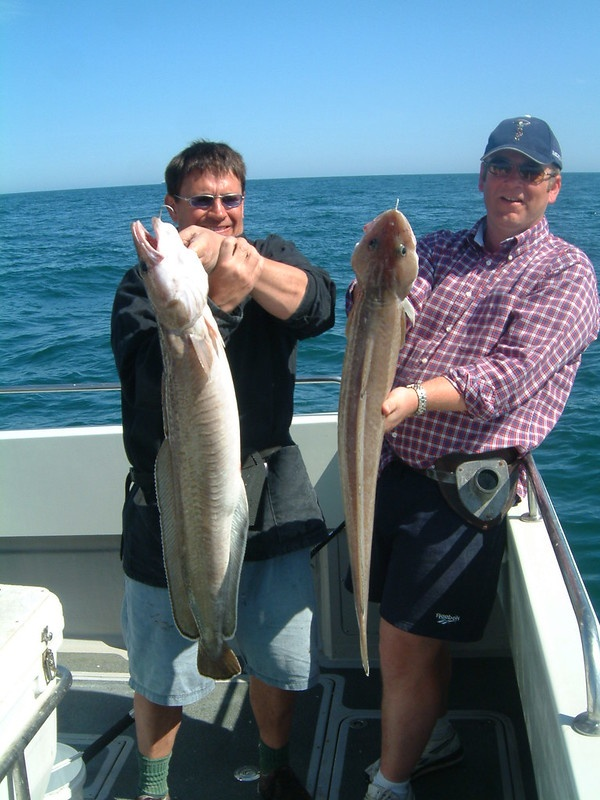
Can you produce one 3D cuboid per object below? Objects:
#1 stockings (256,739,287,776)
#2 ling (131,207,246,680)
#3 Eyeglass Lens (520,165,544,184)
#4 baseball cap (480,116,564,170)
[{"bbox_3d":[-0.085,1.209,2.561,0.129,0.119,0.121,1,-1,-4],"label":"stockings"},{"bbox_3d":[-0.221,0.176,1.915,0.333,1.122,0.244,-4,16,-2],"label":"ling"},{"bbox_3d":[0.752,-0.727,2.400,0.055,0.067,0.025,1,29,12],"label":"Eyeglass Lens"},{"bbox_3d":[0.751,-0.881,2.526,0.245,0.179,0.350,13,17,30],"label":"baseball cap"}]
